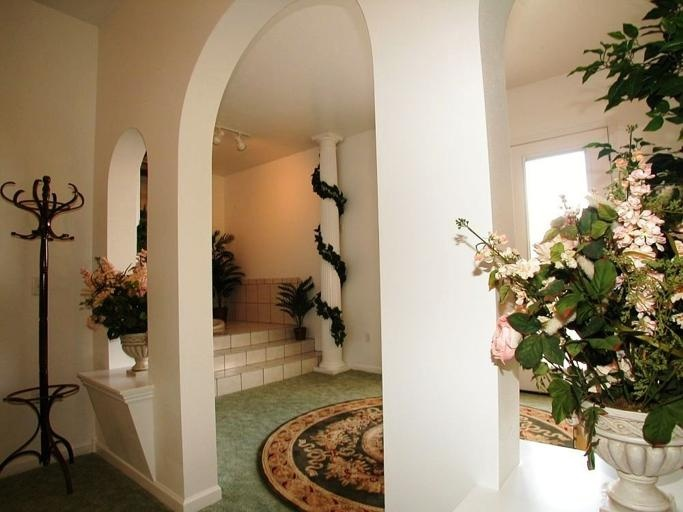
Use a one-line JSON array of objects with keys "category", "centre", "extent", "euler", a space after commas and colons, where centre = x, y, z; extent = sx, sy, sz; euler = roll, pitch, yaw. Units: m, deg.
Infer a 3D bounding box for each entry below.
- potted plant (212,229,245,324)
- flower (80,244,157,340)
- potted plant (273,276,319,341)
[{"category": "potted plant", "centre": [-1.777, 0.299, 7.731], "extent": [0.505, 1.419, 1.054], "euler": [-3, 3, -14]}, {"category": "flower", "centre": [-1.707, 0.280, 3.733], "extent": [0.518, 0.604, 0.528], "euler": [3, -3, -43]}, {"category": "potted plant", "centre": [-0.536, 0.740, 6.819], "extent": [0.610, 0.900, 0.752], "euler": [-1, -7, 8]}]
